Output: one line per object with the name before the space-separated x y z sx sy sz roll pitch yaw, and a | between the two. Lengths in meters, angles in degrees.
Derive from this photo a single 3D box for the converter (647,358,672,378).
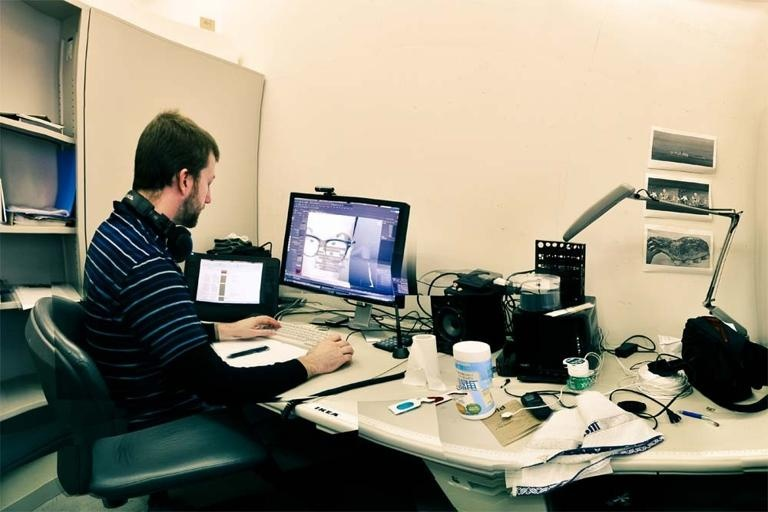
converter | 1.058 0.425 2.191 0.054 0.023 0.070 -7 7 -8

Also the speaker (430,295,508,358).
speaker | 0.362 0.285 2.593 0.278 0.256 0.290 2 8 39

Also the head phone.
head phone | -0.869 -0.118 2.175 0.326 0.124 0.322 39 -9 -11

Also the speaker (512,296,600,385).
speaker | 0.698 0.300 2.374 0.267 0.299 0.494 -1 1 39

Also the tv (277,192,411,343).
tv | -0.172 0.051 2.690 0.713 0.581 0.247 9 7 31

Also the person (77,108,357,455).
person | -0.762 -0.029 2.736 1.281 1.470 1.154 -4 11 -39
